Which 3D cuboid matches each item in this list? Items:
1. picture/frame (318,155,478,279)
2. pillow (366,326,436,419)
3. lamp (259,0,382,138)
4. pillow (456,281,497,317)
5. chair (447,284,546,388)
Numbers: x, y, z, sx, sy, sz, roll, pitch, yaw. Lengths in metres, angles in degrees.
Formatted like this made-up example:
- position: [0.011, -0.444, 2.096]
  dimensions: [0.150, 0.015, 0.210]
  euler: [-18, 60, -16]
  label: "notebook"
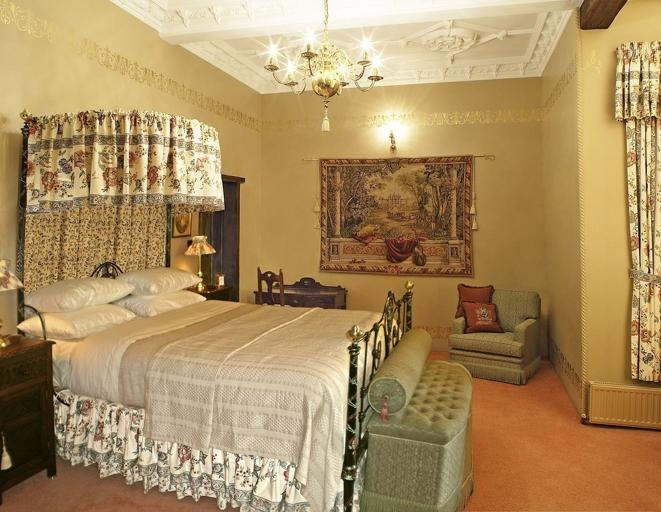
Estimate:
- position: [1.176, -0.636, 8.166]
  dimensions: [1.736, 1.417, 0.077]
  euler: [0, 0, 15]
  label: "picture/frame"
- position: [0.567, 0.960, 4.229]
  dimensions: [0.314, 0.344, 1.385]
  euler: [16, 7, 17]
  label: "pillow"
- position: [-0.048, -2.427, 6.748]
  dimensions: [1.178, 1.994, 1.260]
  euler: [6, 12, 19]
  label: "lamp"
- position: [2.077, 0.619, 7.612]
  dimensions: [0.529, 0.599, 0.205]
  euler: [4, 39, 7]
  label: "pillow"
- position: [2.291, 1.073, 7.167]
  dimensions: [0.983, 1.098, 1.028]
  euler: [1, 2, 38]
  label: "chair"
